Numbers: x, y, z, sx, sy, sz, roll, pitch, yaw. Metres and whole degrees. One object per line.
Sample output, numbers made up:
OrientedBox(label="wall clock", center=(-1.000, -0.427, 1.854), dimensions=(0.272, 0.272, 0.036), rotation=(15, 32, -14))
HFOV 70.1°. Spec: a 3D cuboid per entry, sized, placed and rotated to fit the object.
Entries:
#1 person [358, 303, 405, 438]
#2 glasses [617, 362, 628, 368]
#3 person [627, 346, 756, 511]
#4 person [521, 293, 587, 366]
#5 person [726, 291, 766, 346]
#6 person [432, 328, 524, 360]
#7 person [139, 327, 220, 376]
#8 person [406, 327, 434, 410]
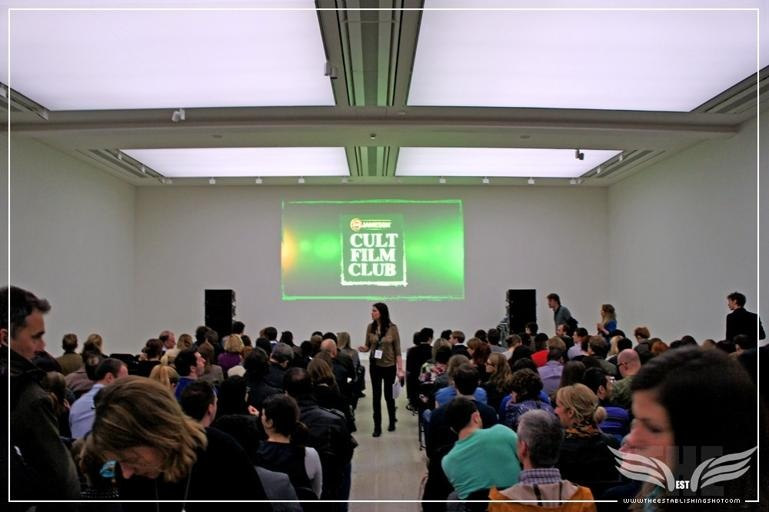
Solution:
OrientedBox(label="person", center=(-0.064, 1.573, 7.765), dimensions=(0.554, 1.801, 0.651), rotation=(0, -7, -3))
OrientedBox(label="glasses", center=(2.392, 1.108, 5.516), dimensions=(0.111, 0.041, 0.106), rotation=(2, -3, 6))
OrientedBox(label="person", center=(1.252, 0.724, 2.217), dimensions=(0.449, 0.710, 0.336), rotation=(-5, -9, 32))
OrientedBox(label="person", center=(2.776, 1.191, 9.126), dimensions=(0.438, 0.455, 1.192), rotation=(-4, 34, 14))
OrientedBox(label="person", center=(4.774, 0.797, 7.269), dimensions=(0.435, 0.661, 1.838), rotation=(-5, -8, 34))
OrientedBox(label="person", center=(1.346, 1.249, 7.726), dimensions=(0.930, 0.277, 0.902), rotation=(1, -4, 9))
OrientedBox(label="person", center=(-2.756, 1.193, 6.786), dimensions=(0.744, 0.372, 0.969), rotation=(-5, -3, -2))
OrientedBox(label="person", center=(0.538, 1.659, 8.144), dimensions=(0.486, 1.265, 0.347), rotation=(-1, 20, -6))
